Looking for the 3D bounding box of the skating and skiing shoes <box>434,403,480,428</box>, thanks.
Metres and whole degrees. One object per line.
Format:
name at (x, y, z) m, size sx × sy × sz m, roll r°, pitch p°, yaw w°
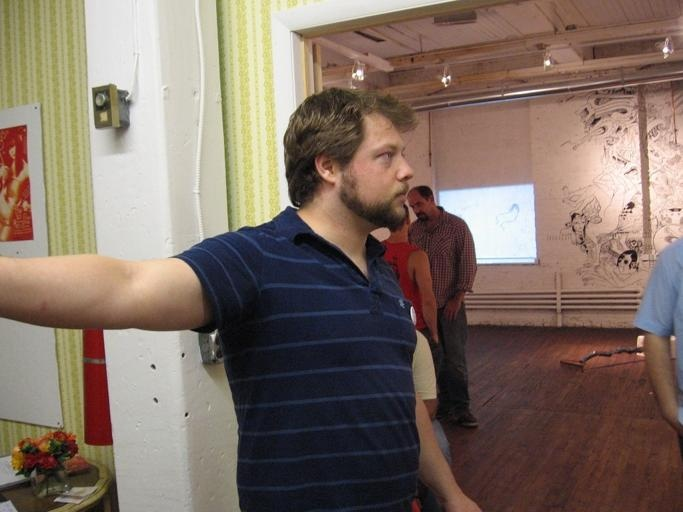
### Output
skating and skiing shoes at (0.968, 1.358, 4.472) m, size 0.388 × 0.173 × 0.136 m, roll 2°, pitch 5°, yaw 35°
